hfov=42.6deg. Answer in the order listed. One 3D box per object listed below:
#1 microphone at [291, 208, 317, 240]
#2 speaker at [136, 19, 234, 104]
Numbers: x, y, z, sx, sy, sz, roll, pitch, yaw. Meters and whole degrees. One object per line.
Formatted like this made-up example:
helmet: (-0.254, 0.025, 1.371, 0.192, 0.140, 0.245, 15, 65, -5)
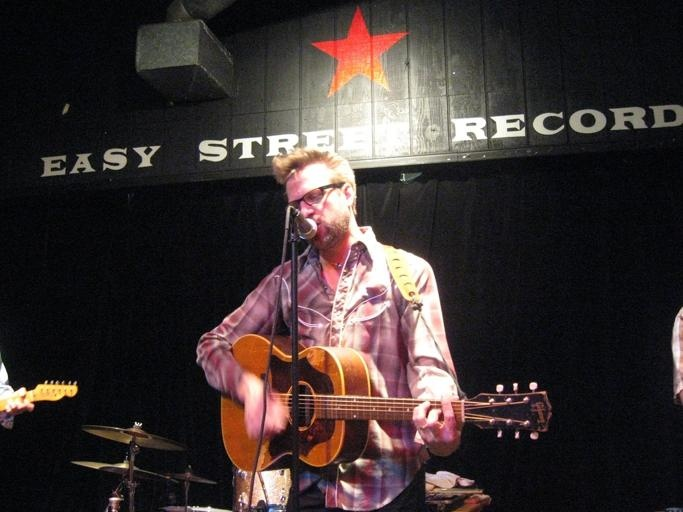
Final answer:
microphone: (-0.250, -0.210, 5.923, 0.152, 0.217, 0.303, -1, -10, 4)
speaker: (-1.513, -1.983, 8.261, 0.644, 0.430, 0.719, -3, 8, 24)
